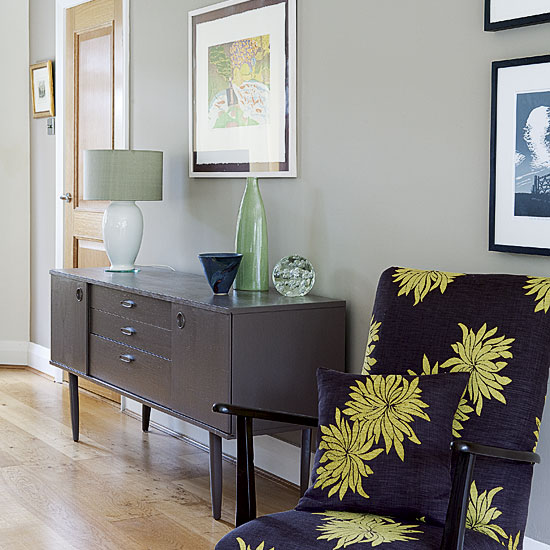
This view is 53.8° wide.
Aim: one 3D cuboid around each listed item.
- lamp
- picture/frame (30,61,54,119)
[{"bbox_3d":[-0.789,-0.330,2.791,0.400,0.636,0.269,1,2,-14],"label":"lamp"},{"bbox_3d":[-1.725,-1.362,4.008,0.047,0.470,0.437,-2,8,-34],"label":"picture/frame"}]
